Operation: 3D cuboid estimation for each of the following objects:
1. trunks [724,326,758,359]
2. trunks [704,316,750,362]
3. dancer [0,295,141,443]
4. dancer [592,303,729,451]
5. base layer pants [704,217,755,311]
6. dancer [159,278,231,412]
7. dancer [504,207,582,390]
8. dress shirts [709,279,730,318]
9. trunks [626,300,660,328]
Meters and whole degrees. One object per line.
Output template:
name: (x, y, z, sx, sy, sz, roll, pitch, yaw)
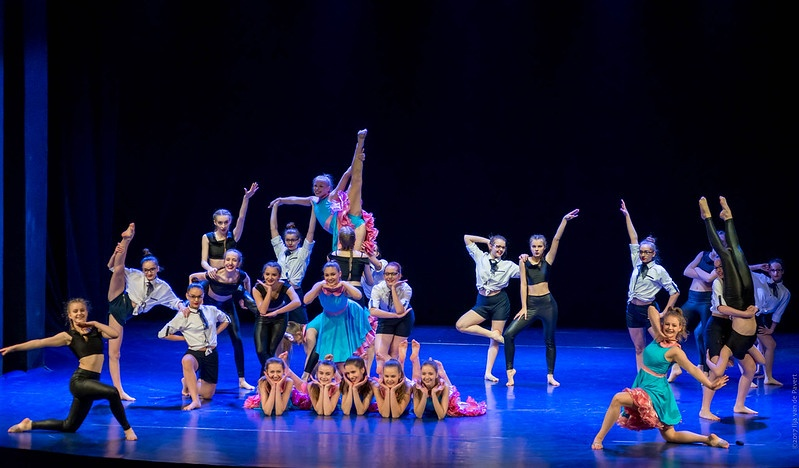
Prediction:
trunks: (3.387, 1.063, 6.753, 0.264, 0.222, 0.171, -11, 33, -25)
trunks: (3.247, 1.037, 6.803, 0.344, 0.409, 0.321, 7, -17, 34)
dancer: (-2.928, 1.194, 6.230, 1.143, 1.201, 0.674, -1, 8, -8)
dancer: (2.383, 1.341, 6.121, 1.259, 1.295, 0.720, 9, 3, 14)
base layer pants: (3.200, 0.299, 6.752, 0.595, 0.826, 0.254, -8, 3, -1)
dancer: (-2.118, 1.098, 7.017, 0.483, 1.207, 0.754, 2, 8, 12)
dancer: (1.590, 0.689, 7.816, 0.707, 1.955, 1.035, 4, 9, 25)
dress shirts: (3.174, 0.615, 6.888, 0.136, 0.317, 0.203, 5, -6, -4)
trunks: (2.778, 0.954, 7.954, 0.287, 0.325, 0.385, 12, -11, -44)
